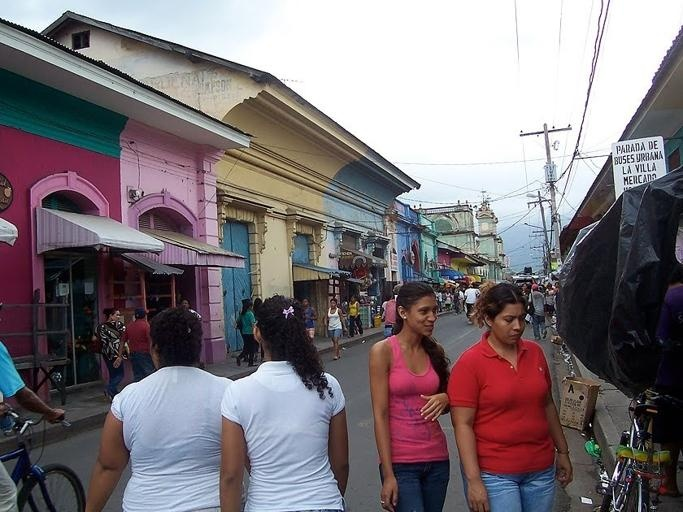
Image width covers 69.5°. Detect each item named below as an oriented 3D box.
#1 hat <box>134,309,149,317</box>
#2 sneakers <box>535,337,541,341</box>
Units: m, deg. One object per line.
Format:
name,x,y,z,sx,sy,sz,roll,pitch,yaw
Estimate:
hat,-3.716,1.051,9.101,0.150,0.117,0.157,3,-6,-14
sneakers,6.711,2.828,16.890,0.107,0.091,0.186,-4,-18,6
